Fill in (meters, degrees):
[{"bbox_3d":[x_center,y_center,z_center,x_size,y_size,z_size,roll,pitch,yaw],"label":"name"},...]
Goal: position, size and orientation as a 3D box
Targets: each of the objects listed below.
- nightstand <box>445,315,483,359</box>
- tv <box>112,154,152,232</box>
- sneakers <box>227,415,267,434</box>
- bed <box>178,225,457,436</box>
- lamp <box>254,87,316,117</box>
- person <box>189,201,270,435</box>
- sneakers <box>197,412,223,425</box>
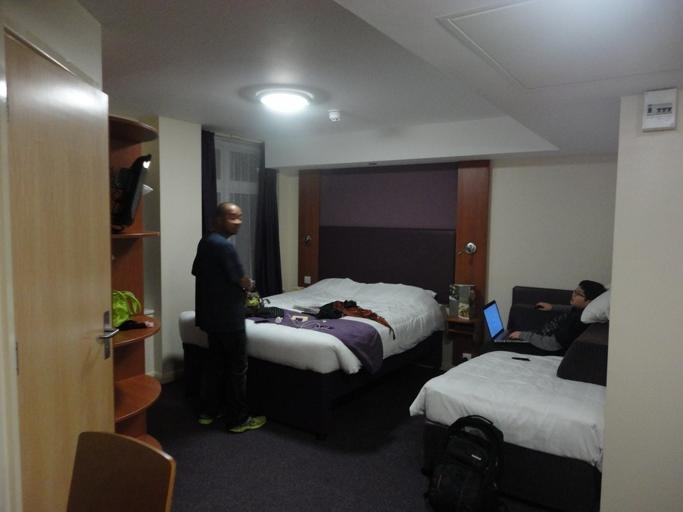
[{"bbox_3d":[1.344,0.896,5.423,0.358,0.556,0.348,-7,14,10],"label":"nightstand"},{"bbox_3d":[-1.370,-0.457,3.174,0.117,0.546,0.251,10,-16,-6],"label":"tv"},{"bbox_3d":[-0.769,1.376,4.111,0.271,0.126,0.104,-15,18,-30],"label":"sneakers"},{"bbox_3d":[-0.140,0.586,5.096,1.700,1.765,2.383,2,3,34],"label":"bed"},{"bbox_3d":[-0.492,-1.344,4.381,0.473,0.122,0.758,0,8,-7],"label":"lamp"},{"bbox_3d":[-0.933,0.496,4.109,0.494,1.838,0.518,-4,9,-30],"label":"person"},{"bbox_3d":[-1.116,1.387,4.234,0.072,0.085,0.186,2,-14,38],"label":"sneakers"}]
